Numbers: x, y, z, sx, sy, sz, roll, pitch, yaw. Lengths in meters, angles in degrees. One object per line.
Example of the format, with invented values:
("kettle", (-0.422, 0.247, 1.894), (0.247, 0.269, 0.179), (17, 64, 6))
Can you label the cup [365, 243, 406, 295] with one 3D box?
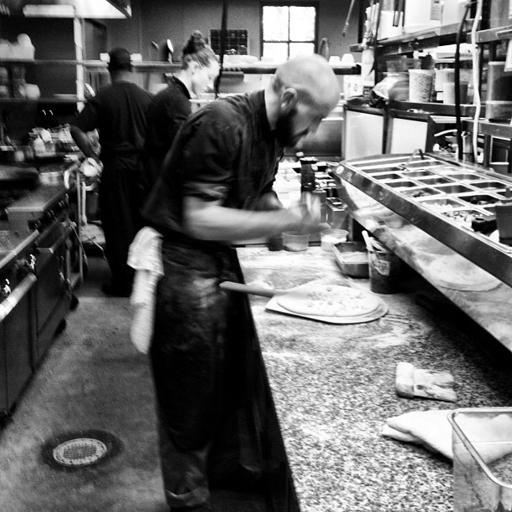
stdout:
("cup", (0.422, 0.045, 1.632), (0.141, 0.147, 0.140), (-2, 17, 1))
